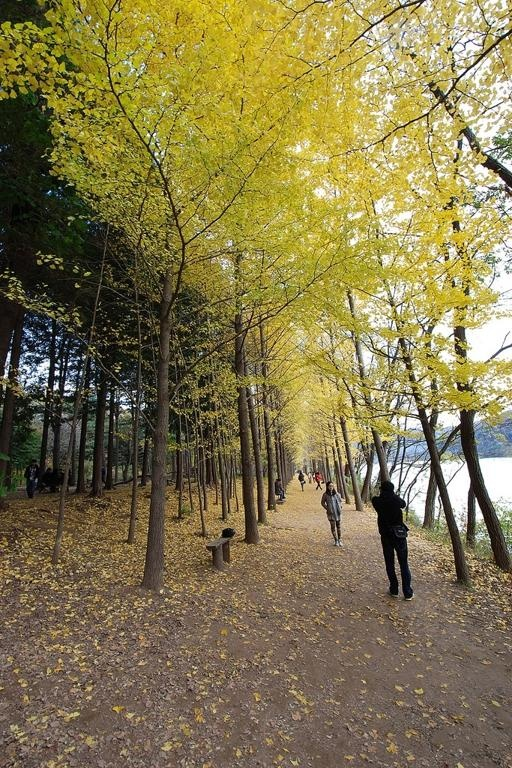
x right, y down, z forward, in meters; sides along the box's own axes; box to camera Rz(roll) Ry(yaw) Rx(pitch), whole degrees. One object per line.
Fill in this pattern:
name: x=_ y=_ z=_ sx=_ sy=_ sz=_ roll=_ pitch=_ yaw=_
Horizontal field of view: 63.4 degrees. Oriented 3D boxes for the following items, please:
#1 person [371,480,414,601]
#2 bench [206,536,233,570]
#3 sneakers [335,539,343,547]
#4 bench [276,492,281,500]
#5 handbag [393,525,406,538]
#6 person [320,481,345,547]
person: x=1.987 y=2.192 z=5.998 sx=0.534 sy=1.550 sz=0.793 roll=-1 pitch=-5 yaw=22
bench: x=-0.605 y=2.805 z=6.930 sx=0.265 sy=0.482 sz=1.022 roll=1 pitch=-6 yaw=6
sneakers: x=1.796 y=3.331 z=8.796 sx=0.144 sy=0.196 sz=0.199 roll=1 pitch=-33 yaw=-2
bench: x=0.934 y=4.488 z=16.561 sx=0.209 sy=0.170 sz=0.570 roll=1 pitch=-6 yaw=3
handbag: x=2.007 y=2.020 z=5.674 sx=0.229 sy=0.148 sz=0.118 roll=5 pitch=-7 yaw=-33
person: x=1.707 y=2.804 z=9.187 sx=0.422 sy=1.367 sz=1.328 roll=0 pitch=-5 yaw=11
